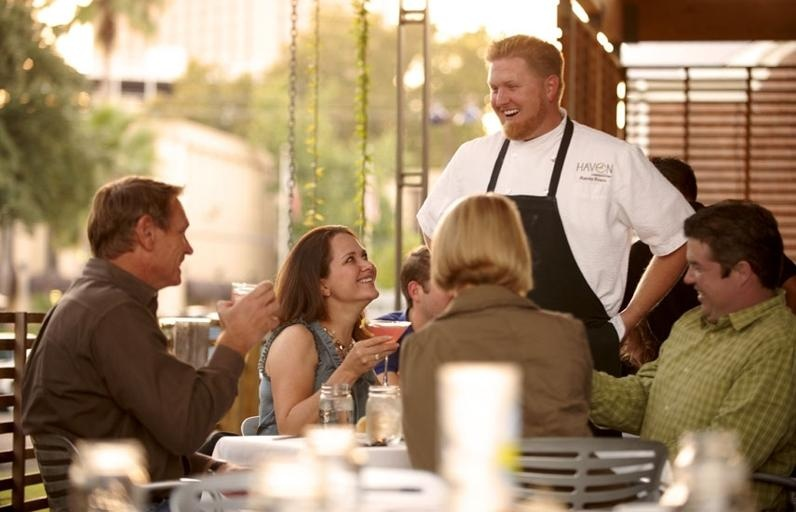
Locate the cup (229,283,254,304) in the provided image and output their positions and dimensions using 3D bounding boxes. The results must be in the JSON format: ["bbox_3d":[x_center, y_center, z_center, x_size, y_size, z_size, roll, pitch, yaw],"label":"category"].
[{"bbox_3d":[-0.872,0.213,5.621,0.115,0.097,0.125,1,1,0],"label":"cup"}]

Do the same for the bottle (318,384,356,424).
[{"bbox_3d":[-0.314,0.786,5.397,0.188,0.346,0.202,1,-4,0],"label":"bottle"}]

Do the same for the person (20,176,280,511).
[{"bbox_3d":[-1.339,0.438,5.295,1.211,1.746,0.452,0,-2,-17],"label":"person"}]

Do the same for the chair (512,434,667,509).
[{"bbox_3d":[0.927,1.013,4.721,0.506,0.188,0.396,-2,-6,3],"label":"chair"}]

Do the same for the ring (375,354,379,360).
[{"bbox_3d":[-0.116,0.560,5.543,0.027,0.027,0.027,0,-1,0],"label":"ring"}]
